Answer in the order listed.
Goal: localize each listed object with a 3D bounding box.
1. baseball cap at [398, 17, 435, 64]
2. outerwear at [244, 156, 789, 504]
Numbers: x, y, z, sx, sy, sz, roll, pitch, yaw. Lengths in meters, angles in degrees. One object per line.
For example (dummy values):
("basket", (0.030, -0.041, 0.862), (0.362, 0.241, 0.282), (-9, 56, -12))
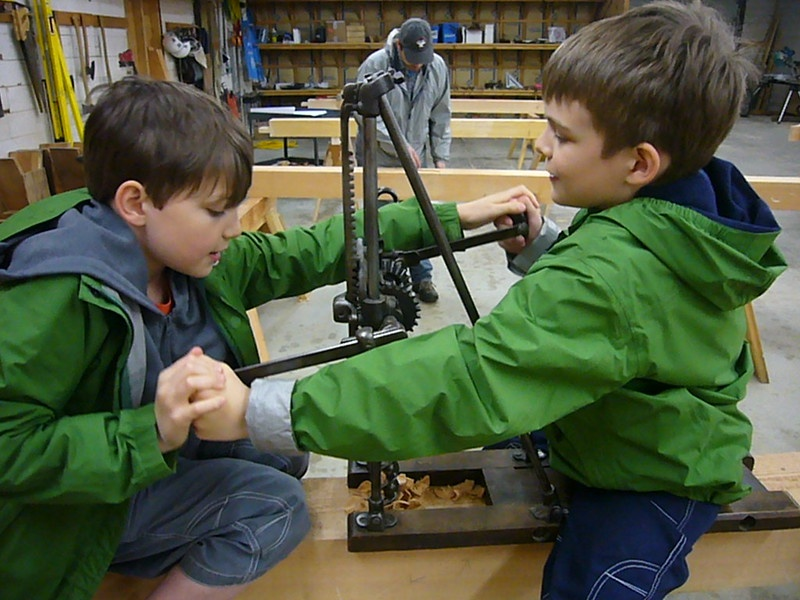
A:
("baseball cap", (0.096, -1.416, 3.446), (0.179, 0.273, 0.143), (-13, -20, -15))
("outerwear", (0.311, 0.139, 1.302), (1.107, 0.713, 0.300), (-10, 21, -19))
